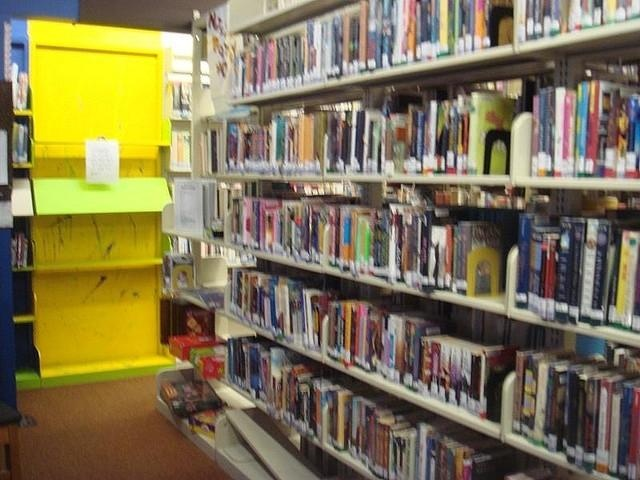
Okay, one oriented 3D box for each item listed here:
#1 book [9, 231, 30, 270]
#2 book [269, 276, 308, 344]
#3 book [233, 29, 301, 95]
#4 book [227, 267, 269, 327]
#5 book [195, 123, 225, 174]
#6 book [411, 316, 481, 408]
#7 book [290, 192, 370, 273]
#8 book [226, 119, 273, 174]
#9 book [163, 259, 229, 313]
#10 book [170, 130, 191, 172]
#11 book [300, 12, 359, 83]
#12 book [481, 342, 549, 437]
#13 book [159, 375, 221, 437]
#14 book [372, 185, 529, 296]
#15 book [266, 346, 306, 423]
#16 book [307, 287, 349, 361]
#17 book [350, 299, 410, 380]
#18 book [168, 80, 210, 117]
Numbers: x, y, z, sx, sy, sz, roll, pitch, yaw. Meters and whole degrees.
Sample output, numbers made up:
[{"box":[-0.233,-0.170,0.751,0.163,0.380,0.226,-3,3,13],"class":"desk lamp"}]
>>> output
[{"box":[-2.467,0.087,5.637,0.119,0.298,0.116,-8,11,-15],"class":"book"},{"box":[-0.176,0.409,3.983,0.100,0.318,0.326,-10,13,-28],"class":"book"},{"box":[-0.324,-1.053,4.122,0.172,0.346,0.768,-10,13,-26],"class":"book"},{"box":[-0.452,0.355,4.394,0.080,0.320,0.514,-11,13,-30],"class":"book"},{"box":[-0.774,-0.653,4.850,0.179,0.388,0.360,-1,4,-9],"class":"book"},{"box":[0.578,0.595,3.076,0.208,0.419,0.355,-6,9,-33],"class":"book"},{"box":[0.088,-0.029,3.603,0.112,0.300,0.582,-13,14,-37],"class":"book"},{"box":[-0.439,-0.573,4.288,0.045,0.270,0.332,-1,4,-34],"class":"book"},{"box":[-0.924,0.325,5.257,0.313,0.250,0.441,-5,8,-38],"class":"book"},{"box":[-1.276,-0.808,6.297,0.232,0.363,0.083,-14,14,-39],"class":"book"},{"box":[0.057,-1.003,3.595,0.205,0.409,0.381,-1,-1,-30],"class":"book"},{"box":[0.769,0.590,2.951,0.236,0.376,0.339,3,2,-22],"class":"book"},{"box":[-0.919,1.186,4.992,0.245,0.112,0.422,-11,24,-29],"class":"book"},{"box":[0.583,-0.164,3.199,0.341,0.569,0.690,2,4,-38],"class":"book"},{"box":[-0.171,0.858,4.050,0.127,0.367,0.378,-11,13,-30],"class":"book"},{"box":[0.033,0.447,3.747,0.123,0.308,0.314,-14,14,-39],"class":"book"},{"box":[0.297,0.499,3.394,0.054,0.259,0.321,2,6,-33],"class":"book"},{"box":[-1.083,-1.166,5.689,0.310,0.340,1.128,-8,13,-12],"class":"book"}]
